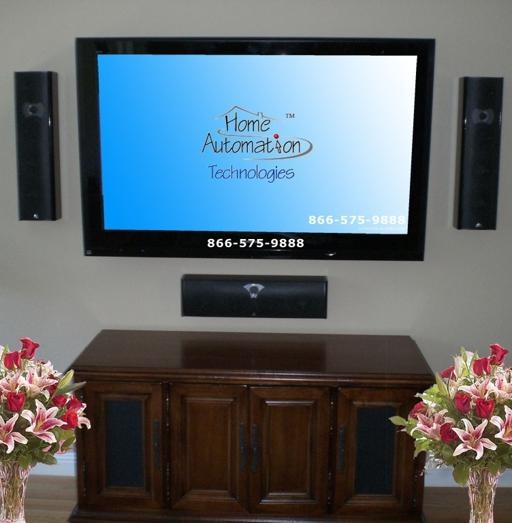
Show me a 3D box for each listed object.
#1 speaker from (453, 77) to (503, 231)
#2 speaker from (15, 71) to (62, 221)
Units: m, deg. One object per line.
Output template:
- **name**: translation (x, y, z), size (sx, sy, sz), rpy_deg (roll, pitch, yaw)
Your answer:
- **speaker**: translation (0.958, -0.466, 2.714), size (0.162, 0.636, 0.172), rpy_deg (-1, -5, -3)
- **speaker**: translation (-0.984, -0.509, 2.803), size (0.169, 0.627, 0.214), rpy_deg (1, -6, -21)
